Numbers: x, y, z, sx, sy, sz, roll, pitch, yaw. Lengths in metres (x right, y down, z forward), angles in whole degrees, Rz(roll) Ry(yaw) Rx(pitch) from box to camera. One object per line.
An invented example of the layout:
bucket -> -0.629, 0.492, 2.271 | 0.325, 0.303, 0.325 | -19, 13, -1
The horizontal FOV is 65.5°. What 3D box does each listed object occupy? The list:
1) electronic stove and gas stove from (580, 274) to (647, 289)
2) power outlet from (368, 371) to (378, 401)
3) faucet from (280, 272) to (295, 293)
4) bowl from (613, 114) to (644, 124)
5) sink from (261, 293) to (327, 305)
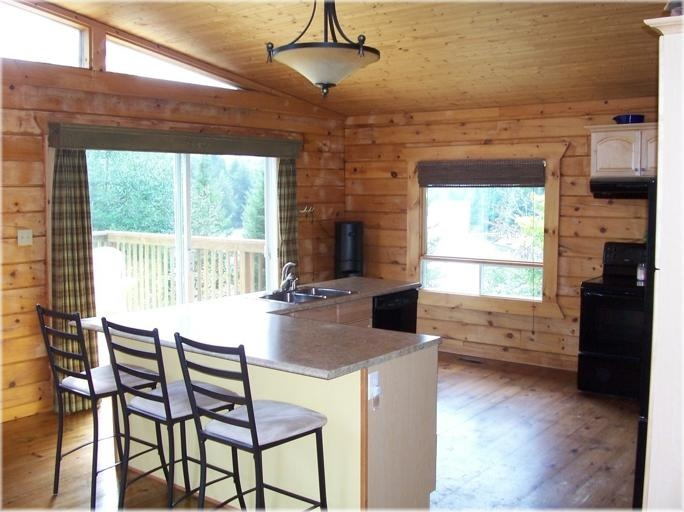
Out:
electronic stove and gas stove -> 2.679, 0.248, 5.212 | 0.309, 0.060, 0.308 | -8, 10, -44
power outlet -> 0.170, 0.687, 2.834 | 0.021, 0.151, 0.093 | 10, 13, 44
faucet -> -0.471, 0.225, 4.729 | 0.125, 0.165, 0.198 | 1, 8, 4
bowl -> 2.810, -1.332, 5.215 | 0.201, 0.056, 0.148 | 0, 2, 26
sink -> -0.443, 0.361, 4.623 | 0.556, 0.076, 0.271 | -2, 7, -19
